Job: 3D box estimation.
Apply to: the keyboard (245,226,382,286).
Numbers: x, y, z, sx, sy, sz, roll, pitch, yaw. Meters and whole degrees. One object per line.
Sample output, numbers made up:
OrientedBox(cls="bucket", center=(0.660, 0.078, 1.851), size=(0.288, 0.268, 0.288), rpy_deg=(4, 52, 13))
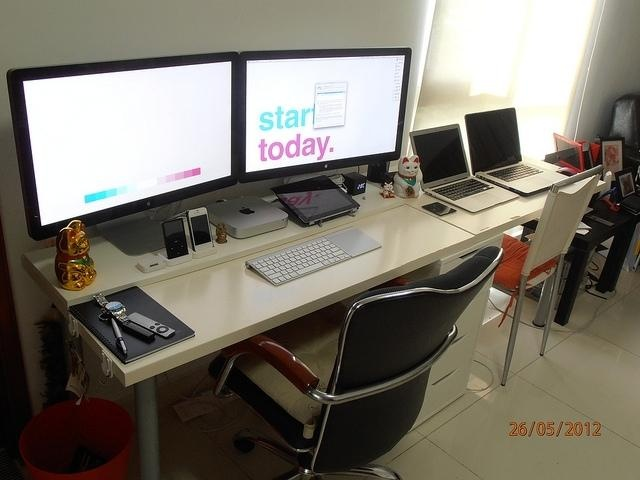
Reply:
OrientedBox(cls="keyboard", center=(-0.034, 0.061, 1.870), size=(0.556, 0.034, 0.218), rpy_deg=(-19, 40, -39))

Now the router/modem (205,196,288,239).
OrientedBox(cls="router/modem", center=(-0.311, -0.130, 2.024), size=(0.372, 0.150, 0.255), rpy_deg=(-17, 33, -37))

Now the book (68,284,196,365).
OrientedBox(cls="book", center=(-0.596, 0.253, 1.463), size=(0.206, 0.029, 0.282), rpy_deg=(-18, 36, -38))

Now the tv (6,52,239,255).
OrientedBox(cls="tv", center=(-0.615, -0.352, 1.644), size=(0.821, 0.518, 0.031), rpy_deg=(-22, 32, -38))

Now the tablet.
OrientedBox(cls="tablet", center=(-0.027, -0.178, 2.086), size=(0.249, 0.057, 0.254), rpy_deg=(-16, 52, -30))

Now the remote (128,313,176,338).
OrientedBox(cls="remote", center=(-0.511, 0.262, 1.438), size=(0.186, 0.021, 0.058), rpy_deg=(26, 35, 32))

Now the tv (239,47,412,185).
OrientedBox(cls="tv", center=(0.008, -0.557, 2.073), size=(0.638, 0.491, 0.045), rpy_deg=(-15, 31, -37))
